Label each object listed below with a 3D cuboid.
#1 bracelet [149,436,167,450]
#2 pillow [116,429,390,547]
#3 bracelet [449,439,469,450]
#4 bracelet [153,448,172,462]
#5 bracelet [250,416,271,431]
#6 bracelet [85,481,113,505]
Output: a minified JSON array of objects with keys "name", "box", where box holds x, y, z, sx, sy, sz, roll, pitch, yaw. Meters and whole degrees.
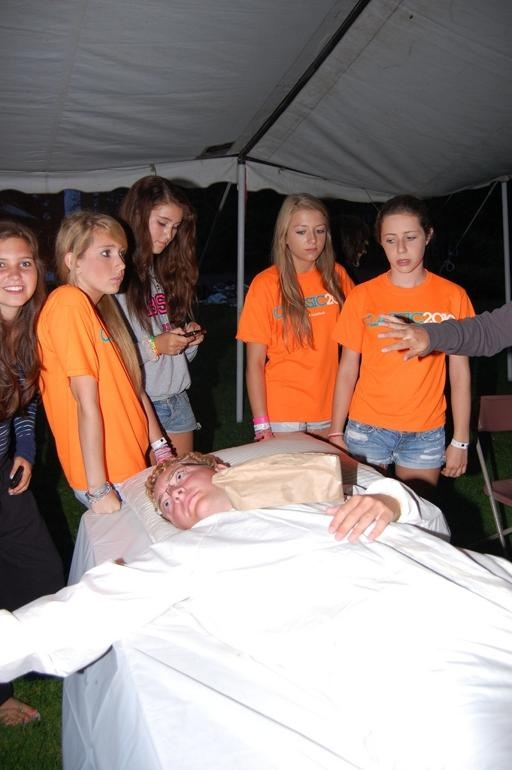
[{"name":"bracelet","box":[-0.422,0.252,2.574,0.056,0.058,0.044,-8,58,-52]},{"name":"pillow","box":[-0.121,0.325,2.191,0.597,0.132,0.436,-6,10,-23]},{"name":"bracelet","box":[0.852,0.245,2.461,0.055,0.020,0.053,4,13,-30]},{"name":"bracelet","box":[-0.401,0.296,2.505,0.043,0.052,0.052,-4,45,-40]},{"name":"bracelet","box":[0.021,0.198,2.777,0.075,0.058,0.073,-17,16,18]},{"name":"bracelet","box":[-0.519,0.357,1.990,0.080,0.037,0.073,-35,-5,-8]}]
